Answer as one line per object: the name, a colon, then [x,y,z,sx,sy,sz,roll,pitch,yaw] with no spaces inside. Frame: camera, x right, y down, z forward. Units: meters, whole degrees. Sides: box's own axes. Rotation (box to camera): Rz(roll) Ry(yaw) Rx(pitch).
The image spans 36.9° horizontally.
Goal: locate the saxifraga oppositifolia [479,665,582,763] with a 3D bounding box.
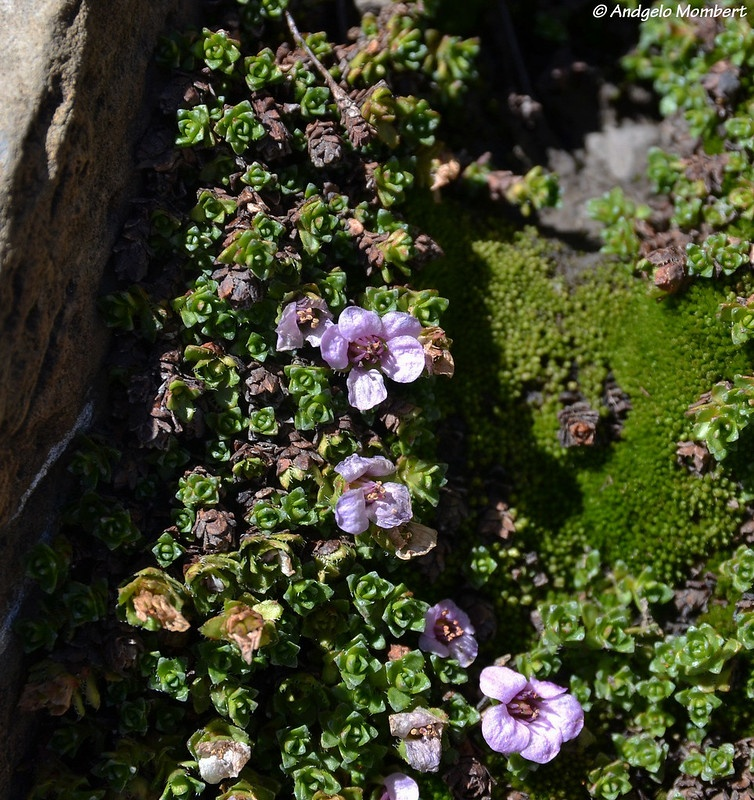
saxifraga oppositifolia: [0.762,1.660,6.040,0.609,0.198,0.549,4,16,32]
